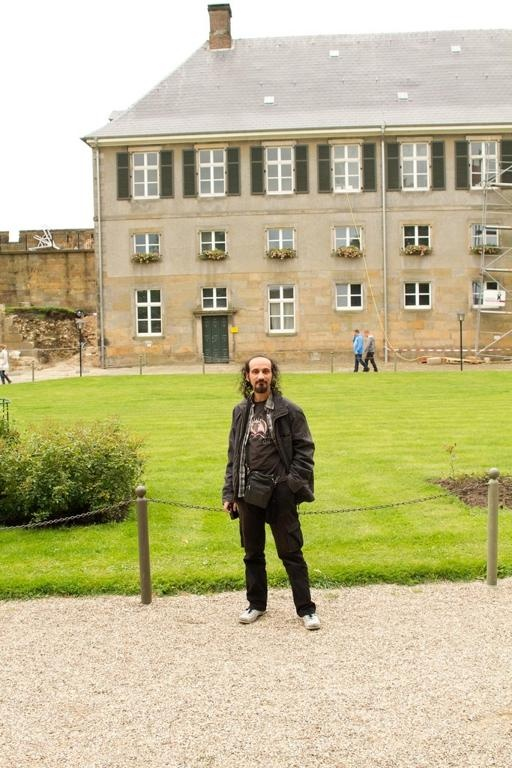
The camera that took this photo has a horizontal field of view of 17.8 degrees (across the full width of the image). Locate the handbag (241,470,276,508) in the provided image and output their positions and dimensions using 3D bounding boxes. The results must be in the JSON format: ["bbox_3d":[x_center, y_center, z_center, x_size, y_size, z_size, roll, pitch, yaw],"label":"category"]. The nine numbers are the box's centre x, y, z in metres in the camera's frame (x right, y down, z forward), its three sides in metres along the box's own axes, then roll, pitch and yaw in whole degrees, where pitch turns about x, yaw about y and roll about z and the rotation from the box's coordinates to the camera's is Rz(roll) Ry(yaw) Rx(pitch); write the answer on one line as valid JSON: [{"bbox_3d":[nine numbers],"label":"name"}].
[{"bbox_3d":[0.025,0.901,14.117,0.216,0.313,0.129,14,4,6],"label":"handbag"}]

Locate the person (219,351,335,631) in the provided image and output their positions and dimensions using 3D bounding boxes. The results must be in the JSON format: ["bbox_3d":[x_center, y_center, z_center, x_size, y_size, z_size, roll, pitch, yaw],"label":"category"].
[{"bbox_3d":[0.139,0.945,14.344,0.887,2.363,0.612,2,11,12],"label":"person"}]
